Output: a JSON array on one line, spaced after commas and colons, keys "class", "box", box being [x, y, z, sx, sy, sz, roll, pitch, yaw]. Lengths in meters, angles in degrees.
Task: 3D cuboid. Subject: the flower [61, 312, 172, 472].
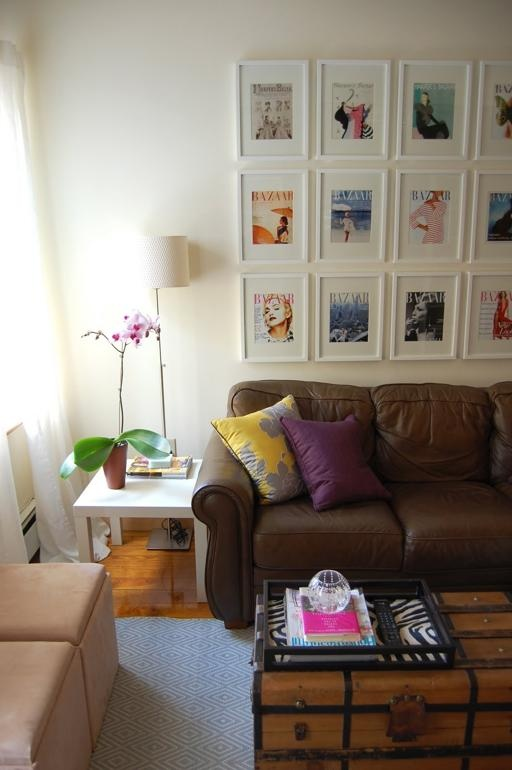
[{"class": "flower", "box": [-0.599, 0.013, 2.509, 0.408, 0.650, 0.754, -2, 12, -10]}]

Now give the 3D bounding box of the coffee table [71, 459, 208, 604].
[{"class": "coffee table", "box": [-0.459, 0.515, 2.420, 0.509, 0.410, 0.537, 0, 13, 4]}]

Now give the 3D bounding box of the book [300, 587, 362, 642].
[{"class": "book", "box": [0.194, 0.598, 1.493, 0.162, 0.036, 0.173, 3, 23, 15]}]
